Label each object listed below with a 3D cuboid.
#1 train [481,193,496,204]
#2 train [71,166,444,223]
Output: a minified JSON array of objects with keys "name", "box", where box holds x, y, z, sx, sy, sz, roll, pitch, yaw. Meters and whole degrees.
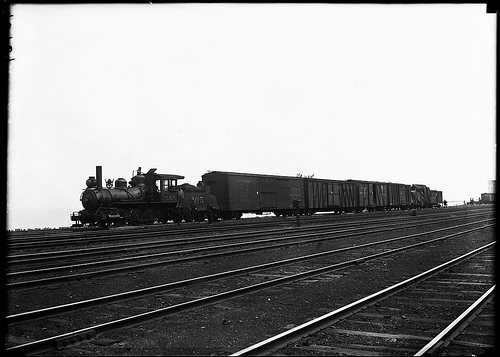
[{"name":"train","box":[66.565,5.215,112.302,1.947,3.852,34.817,-6,-7,28]},{"name":"train","box":[9.933,2.226,49.012,62.265,4.587,3.078,4,-9,-45]}]
